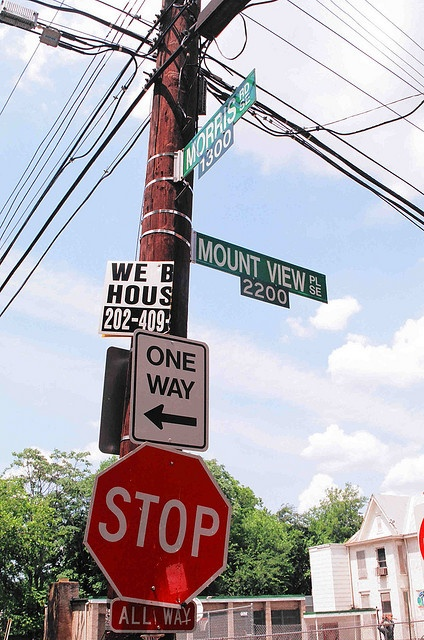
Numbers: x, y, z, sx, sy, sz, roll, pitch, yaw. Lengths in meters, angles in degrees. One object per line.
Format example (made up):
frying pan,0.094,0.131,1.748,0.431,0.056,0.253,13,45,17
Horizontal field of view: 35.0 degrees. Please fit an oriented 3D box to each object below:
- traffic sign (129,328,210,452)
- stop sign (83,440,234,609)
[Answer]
traffic sign,-0.263,0.447,3.932,0.568,0.889,0.067,17,-35,-30
stop sign,-0.267,1.058,3.476,0.817,0.789,0.073,14,-22,-32
